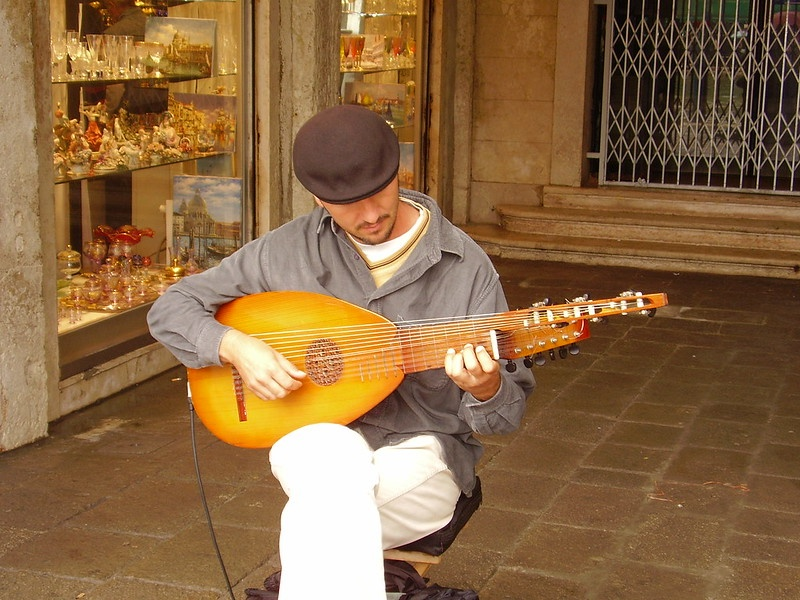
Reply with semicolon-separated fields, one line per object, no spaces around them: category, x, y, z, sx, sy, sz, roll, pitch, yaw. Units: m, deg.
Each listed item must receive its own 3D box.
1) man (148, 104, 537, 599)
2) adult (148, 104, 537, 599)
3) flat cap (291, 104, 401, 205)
man;-0.116;0.132;1.940;0.808;1.853;0.294;10;3;20
adult;-0.140;0.121;1.948;0.808;1.853;0.294;10;3;20
flat cap;-0.147;-0.398;1.929;0.285;0.248;0.138;-1;15;-6
